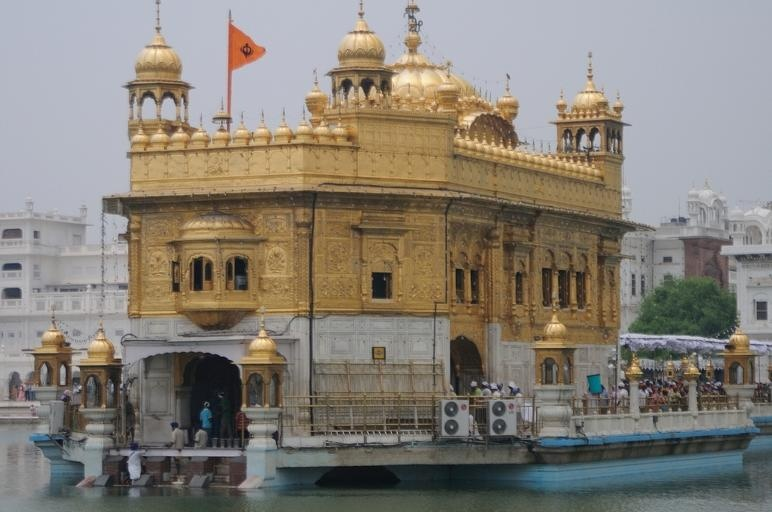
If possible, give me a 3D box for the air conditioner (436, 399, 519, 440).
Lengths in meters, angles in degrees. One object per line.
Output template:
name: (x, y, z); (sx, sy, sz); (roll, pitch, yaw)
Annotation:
air conditioner: (3.145, 5.496, 78.512); (2.648, 1.368, 0.457); (2, 5, -10)
